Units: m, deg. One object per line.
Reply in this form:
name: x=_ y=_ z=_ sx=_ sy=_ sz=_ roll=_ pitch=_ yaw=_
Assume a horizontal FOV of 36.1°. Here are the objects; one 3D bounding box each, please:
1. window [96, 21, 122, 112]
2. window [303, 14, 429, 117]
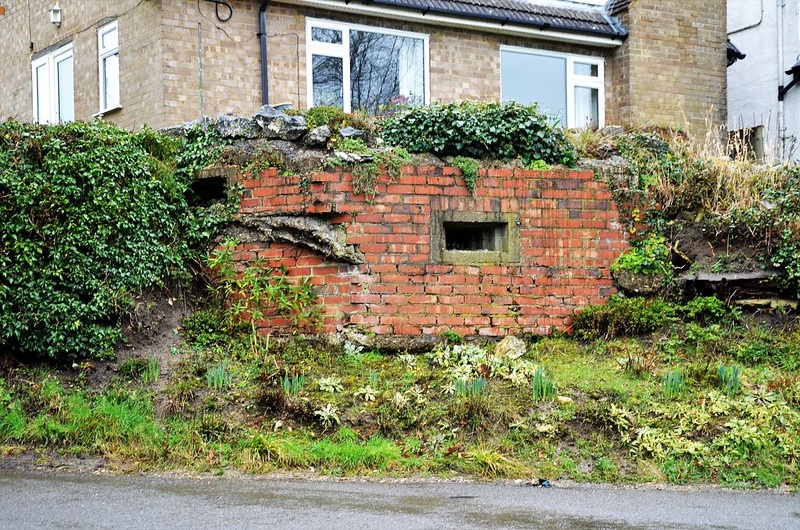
window: x=-5.937 y=-4.083 z=25.170 sx=0.215 sy=1.863 sz=0.782 roll=2 pitch=-2 yaw=-35
window: x=-0.834 y=-4.152 z=25.367 sx=2.269 sy=1.812 sz=0.106 roll=2 pitch=-4 yaw=-29
